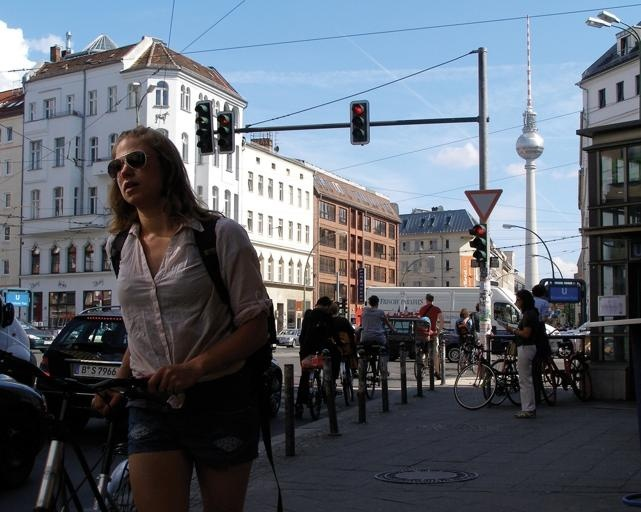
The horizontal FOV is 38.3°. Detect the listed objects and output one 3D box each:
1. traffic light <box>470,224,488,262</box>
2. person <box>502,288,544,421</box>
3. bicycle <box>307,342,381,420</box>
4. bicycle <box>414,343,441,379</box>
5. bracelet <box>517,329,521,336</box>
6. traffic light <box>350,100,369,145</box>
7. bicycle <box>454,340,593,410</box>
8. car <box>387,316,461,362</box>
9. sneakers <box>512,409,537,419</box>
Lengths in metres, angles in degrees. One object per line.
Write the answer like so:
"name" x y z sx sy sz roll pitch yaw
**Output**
"traffic light" 3.156 -0.254 18.667 0.350 0.815 0.858 0 -2 9
"person" 3.186 1.486 14.431 0.407 1.930 0.878 0 -2 12
"bicycle" 0.739 2.060 16.333 0.837 1.126 1.883 -1 2 26
"bicycle" 2.612 2.506 22.590 0.715 0.931 1.504 1 1 15
"bracelet" 3.055 1.189 14.417 0.022 0.098 0.068 3 1 24
"traffic light" 0.816 -2.828 19.551 0.411 0.951 0.445 0 -2 2
"bicycle" 3.401 2.202 16.218 2.267 1.421 1.150 -3 1 -9
"car" 3.805 3.214 34.497 3.099 1.898 1.851 -3 -2 5
"sneakers" 3.079 2.383 14.081 0.298 0.152 0.122 4 -2 3
